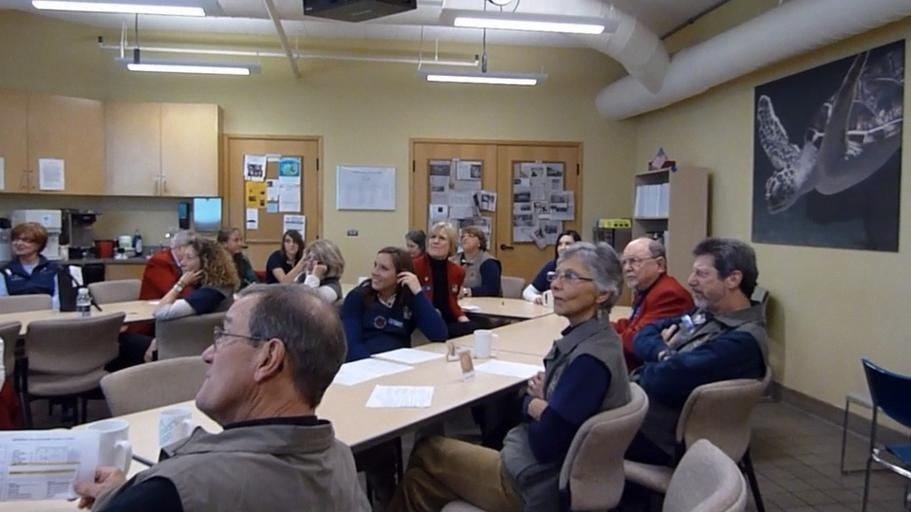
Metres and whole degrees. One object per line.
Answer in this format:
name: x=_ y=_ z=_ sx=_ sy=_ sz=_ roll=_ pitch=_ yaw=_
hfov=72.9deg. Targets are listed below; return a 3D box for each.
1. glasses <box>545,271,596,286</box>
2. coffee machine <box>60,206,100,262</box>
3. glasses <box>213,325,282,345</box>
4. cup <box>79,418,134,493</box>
glasses: x=0.854 y=0.154 z=4.312 sx=0.219 sy=0.057 sz=0.203 roll=7 pitch=-3 yaw=-28
coffee machine: x=-5.233 y=-0.374 z=8.437 sx=0.592 sy=0.715 sz=0.400 roll=17 pitch=17 yaw=24
glasses: x=-1.155 y=0.430 z=3.330 sx=0.343 sy=0.079 sz=0.060 roll=2 pitch=5 yaw=13
cup: x=-1.945 y=1.113 z=3.490 sx=0.384 sy=0.325 sz=0.241 roll=11 pitch=5 yaw=33
